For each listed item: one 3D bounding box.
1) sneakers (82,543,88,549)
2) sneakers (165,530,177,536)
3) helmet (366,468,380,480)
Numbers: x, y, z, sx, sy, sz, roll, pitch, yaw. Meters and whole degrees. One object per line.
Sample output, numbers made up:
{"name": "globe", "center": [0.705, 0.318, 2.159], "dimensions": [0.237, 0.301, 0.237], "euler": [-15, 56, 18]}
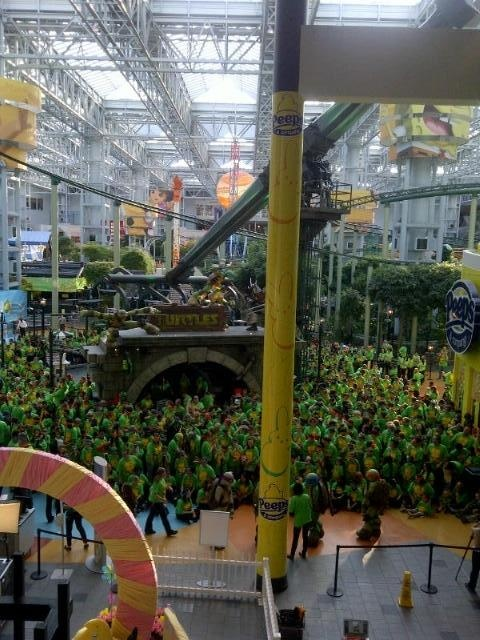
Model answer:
{"name": "sneakers", "center": [-2.910, 4.273, 10.238], "dimensions": [0.075, 0.130, 0.073], "euler": [1, 19, -25]}
{"name": "sneakers", "center": [-1.389, 4.244, 10.873], "dimensions": [0.254, 0.103, 0.083], "euler": [-3, 15, -24]}
{"name": "helmet", "center": [2.471, 2.889, 10.094], "dimensions": [0.189, 0.266, 0.269], "euler": [5, 12, 19]}
